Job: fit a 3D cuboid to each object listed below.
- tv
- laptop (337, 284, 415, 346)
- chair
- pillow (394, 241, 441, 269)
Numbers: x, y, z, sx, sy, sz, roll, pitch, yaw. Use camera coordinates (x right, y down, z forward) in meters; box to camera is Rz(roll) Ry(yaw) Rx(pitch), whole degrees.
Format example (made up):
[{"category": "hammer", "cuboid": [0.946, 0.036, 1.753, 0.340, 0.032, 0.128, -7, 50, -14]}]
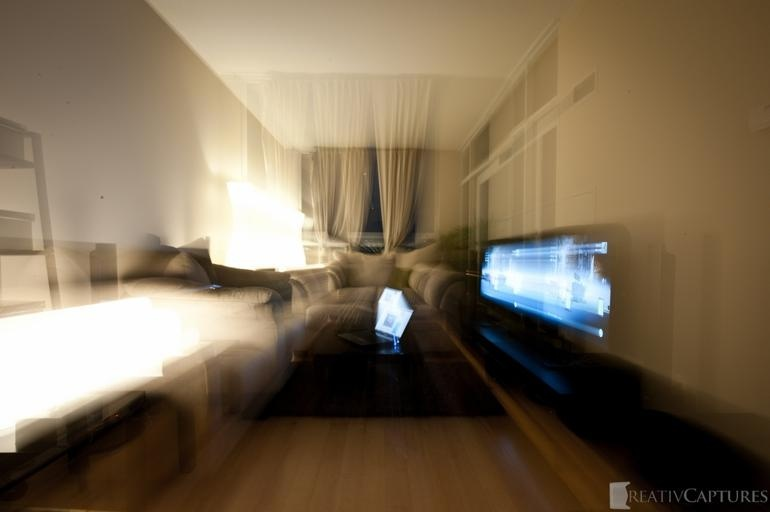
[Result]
[{"category": "tv", "cuboid": [1.047, 0.133, 3.214, 0.207, 0.600, 1.152, -2, 4, -23]}, {"category": "laptop", "cuboid": [-0.024, 0.392, 3.213, 0.278, 0.335, 0.391, 7, 5, -30]}, {"category": "chair", "cuboid": [-0.456, 0.520, 3.210, 1.526, 0.691, 1.198, -1, 7, -9]}, {"category": "pillow", "cuboid": [0.304, 0.000, 4.689, 0.293, 0.288, 0.233, 3, -11, -3]}]
